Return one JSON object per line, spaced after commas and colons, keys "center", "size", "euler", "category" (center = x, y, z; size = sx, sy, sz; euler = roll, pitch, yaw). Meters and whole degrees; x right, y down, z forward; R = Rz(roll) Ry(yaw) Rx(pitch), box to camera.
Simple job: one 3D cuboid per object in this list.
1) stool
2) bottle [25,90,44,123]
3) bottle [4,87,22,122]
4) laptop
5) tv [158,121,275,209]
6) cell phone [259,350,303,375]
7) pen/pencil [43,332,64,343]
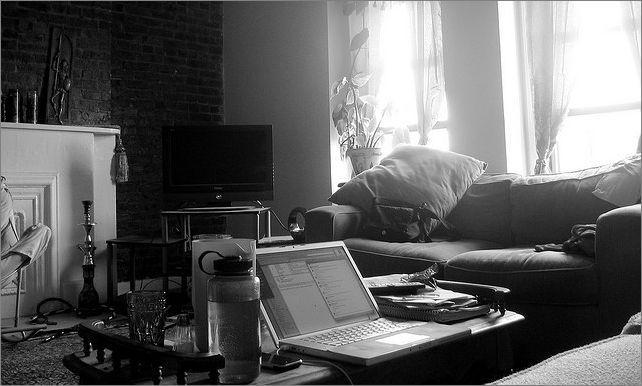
{"center": [-1.724, 0.643, 4.570], "size": [0.620, 0.414, 0.637], "euler": [-11, -4, 33], "category": "stool"}
{"center": [-2.623, -0.790, 4.393], "size": [0.127, 0.255, 0.188], "euler": [-4, 3, 1], "category": "bottle"}
{"center": [-2.738, -0.769, 4.254], "size": [0.138, 0.266, 0.182], "euler": [-5, 3, -14], "category": "bottle"}
{"center": [0.129, 0.382, 1.921], "size": [0.596, 0.547, 0.340], "euler": [2, -40, -32], "category": "laptop"}
{"center": [-1.073, -0.276, 4.881], "size": [0.986, 0.617, 0.098], "euler": [-1, -4, -3], "category": "tv"}
{"center": [-0.154, 0.630, 1.821], "size": [0.122, 0.021, 0.067], "euler": [3, 5, 39], "category": "cell phone"}
{"center": [-1.993, 1.068, 3.608], "size": [0.023, 0.017, 0.115], "euler": [26, 20, 22], "category": "pen/pencil"}
